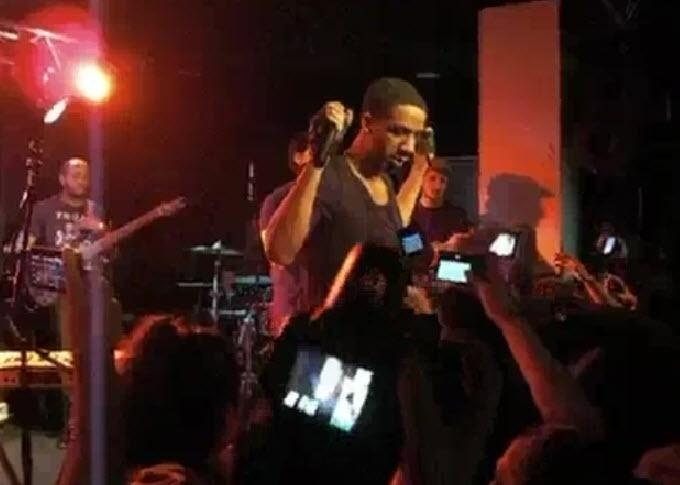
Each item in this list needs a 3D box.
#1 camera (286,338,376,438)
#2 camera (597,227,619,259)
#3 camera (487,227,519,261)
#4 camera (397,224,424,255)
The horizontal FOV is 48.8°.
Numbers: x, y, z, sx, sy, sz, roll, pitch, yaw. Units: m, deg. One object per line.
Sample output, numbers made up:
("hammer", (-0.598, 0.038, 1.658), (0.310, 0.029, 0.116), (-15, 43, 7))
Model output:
("camera", (-0.112, 1.378, 6.982), (0.813, 0.710, 0.222), (5, -9, -2))
("camera", (3.463, 0.005, 9.684), (0.280, 0.354, 0.303), (3, -7, -13))
("camera", (1.878, 0.031, 8.462), (0.266, 0.398, 0.113), (6, -33, 24))
("camera", (0.706, -0.017, 7.345), (0.200, 0.245, 0.313), (-1, 16, -3))
